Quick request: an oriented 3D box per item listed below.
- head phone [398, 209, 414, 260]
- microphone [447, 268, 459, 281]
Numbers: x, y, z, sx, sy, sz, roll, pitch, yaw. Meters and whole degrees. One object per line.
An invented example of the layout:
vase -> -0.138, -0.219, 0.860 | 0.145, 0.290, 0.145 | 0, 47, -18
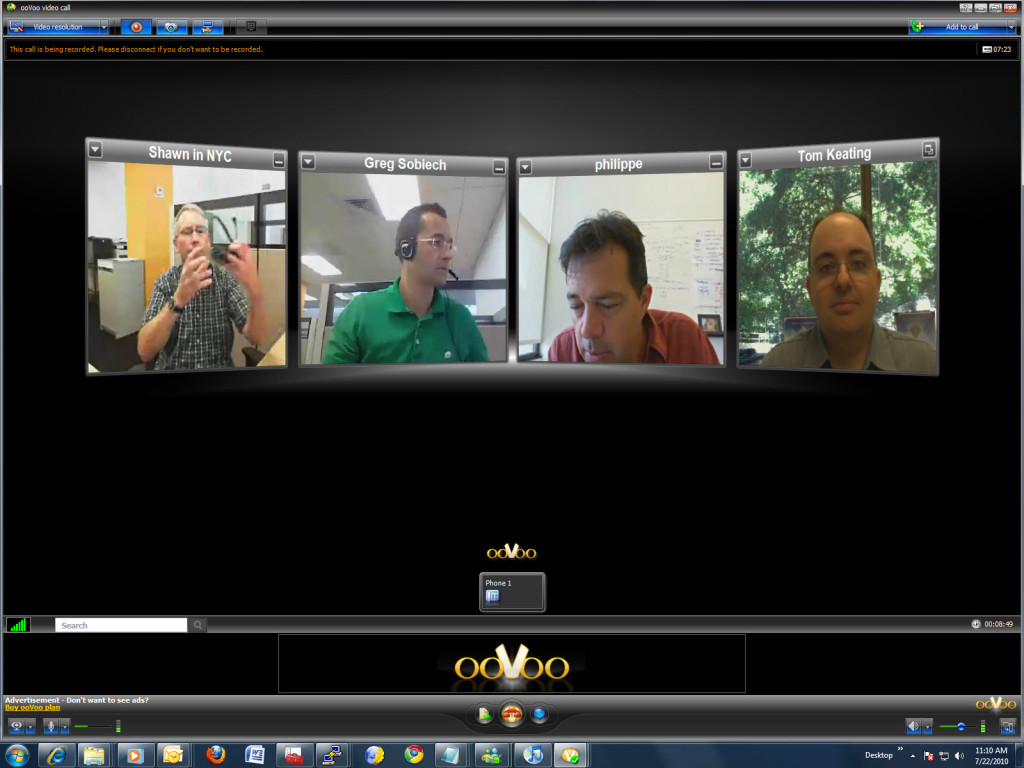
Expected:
head phone -> -0.375, -0.541, 3.543 | 0.050, 0.144, 0.111 | 0, 8, 9
microphone -> -0.223, -0.399, 3.589 | 0.033, 0.034, 0.009 | -46, -16, 26
